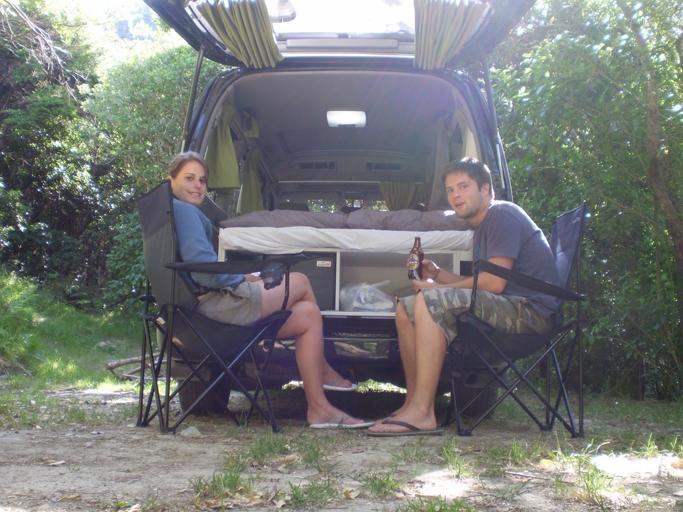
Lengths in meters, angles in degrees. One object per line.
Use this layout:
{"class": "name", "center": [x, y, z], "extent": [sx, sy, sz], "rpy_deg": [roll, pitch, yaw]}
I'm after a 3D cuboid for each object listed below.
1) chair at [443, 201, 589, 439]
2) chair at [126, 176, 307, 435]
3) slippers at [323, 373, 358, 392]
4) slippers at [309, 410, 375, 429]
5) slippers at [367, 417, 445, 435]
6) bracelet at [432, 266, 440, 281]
{"class": "chair", "center": [1.037, 0.321, 3.524], "extent": [0.708, 1.338, 0.753], "rpy_deg": [2, -1, 5]}
{"class": "chair", "center": [-0.697, 0.287, 3.522], "extent": [0.792, 1.326, 1.078], "rpy_deg": [5, 0, -10]}
{"class": "slippers", "center": [-0.008, 0.760, 3.639], "extent": [0.228, 0.096, 0.092], "rpy_deg": [-1, -2, -2]}
{"class": "slippers", "center": [0.006, 0.873, 3.376], "extent": [0.310, 0.094, 0.134], "rpy_deg": [-2, -8, 0]}
{"class": "slippers", "center": [0.348, 0.927, 3.189], "extent": [0.349, 0.096, 0.149], "rpy_deg": [6, -20, -4]}
{"class": "bracelet", "center": [0.586, 0.105, 3.678], "extent": [0.038, 0.071, 0.057], "rpy_deg": [7, -4, -5]}
